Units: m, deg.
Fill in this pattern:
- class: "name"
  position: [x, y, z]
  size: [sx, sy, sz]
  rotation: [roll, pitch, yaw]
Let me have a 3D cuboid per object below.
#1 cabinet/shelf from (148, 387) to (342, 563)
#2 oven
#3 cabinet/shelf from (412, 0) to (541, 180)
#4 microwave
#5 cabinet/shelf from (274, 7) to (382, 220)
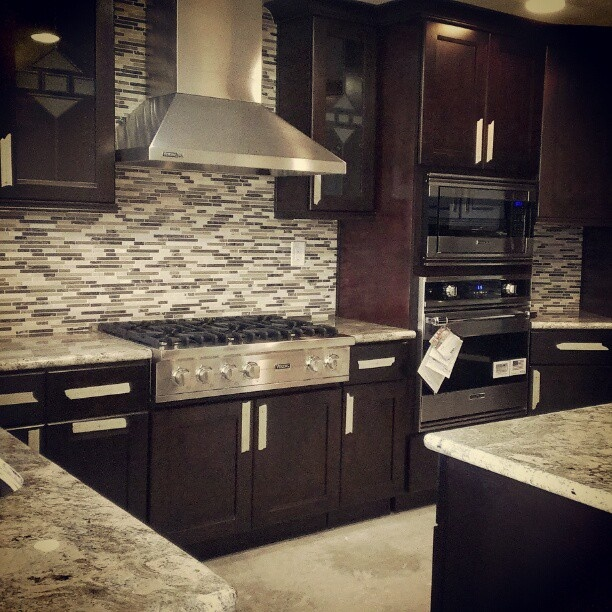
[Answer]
- class: "cabinet/shelf"
  position: [-0.278, 0.578, 2.741]
  size: [0.800, 0.801, 0.473]
  rotation: [-5, 23, -20]
- class: "oven"
  position: [0.887, 0.174, 3.337]
  size: [0.550, 0.813, 0.331]
  rotation: [-2, 9, 10]
- class: "cabinet/shelf"
  position: [0.970, -1.119, 3.283]
  size: [0.693, 0.693, 0.244]
  rotation: [24, 38, 38]
- class: "microwave"
  position: [0.882, -0.420, 3.325]
  size: [0.572, 0.466, 0.337]
  rotation: [1, -2, -4]
- class: "cabinet/shelf"
  position: [0.137, -0.969, 3.165]
  size: [0.460, 1.017, 0.257]
  rotation: [-3, 8, -29]
